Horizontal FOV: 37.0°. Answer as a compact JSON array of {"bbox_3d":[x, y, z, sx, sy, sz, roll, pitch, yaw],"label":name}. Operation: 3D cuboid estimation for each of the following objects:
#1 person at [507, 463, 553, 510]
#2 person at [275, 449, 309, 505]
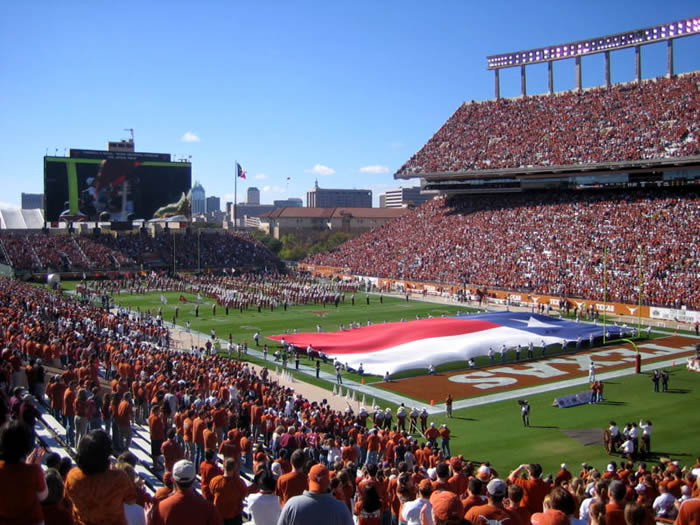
[{"bbox_3d":[7.154,9.432,40.478,1.420,3.078,0.908,3,-2,6],"label":"person"},{"bbox_3d":[-2.182,7.978,39.576,1.134,1.837,1.435,1,6,-26],"label":"person"}]
